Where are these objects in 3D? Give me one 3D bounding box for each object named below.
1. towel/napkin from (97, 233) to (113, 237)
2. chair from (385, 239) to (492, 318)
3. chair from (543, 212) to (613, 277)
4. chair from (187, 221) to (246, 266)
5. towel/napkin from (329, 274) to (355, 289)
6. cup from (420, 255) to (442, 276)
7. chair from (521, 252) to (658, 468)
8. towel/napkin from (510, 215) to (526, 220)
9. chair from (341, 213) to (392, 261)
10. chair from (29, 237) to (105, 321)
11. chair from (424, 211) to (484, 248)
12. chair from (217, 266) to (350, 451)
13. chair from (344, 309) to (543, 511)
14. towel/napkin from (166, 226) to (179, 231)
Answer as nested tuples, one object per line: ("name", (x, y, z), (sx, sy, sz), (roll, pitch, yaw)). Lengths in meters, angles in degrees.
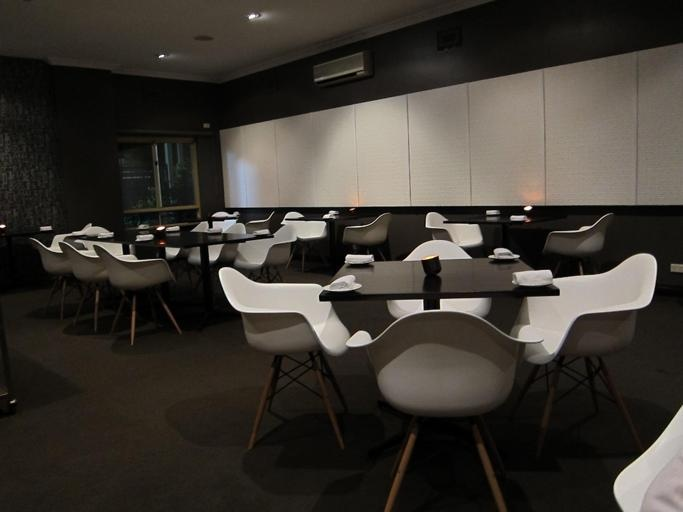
("towel/napkin", (-2.953, -0.267, 6.107), (0.124, 0.045, 0.125), (-2, 8, -31))
("chair", (0.763, 0.180, 3.842), (0.673, 0.922, 0.669), (-1, 1, 1))
("chair", (2.850, -0.276, 5.921), (0.738, 1.086, 0.786), (7, 10, 35))
("chair", (-1.513, -0.162, 6.190), (0.560, 0.612, 0.640), (1, 0, 34))
("towel/napkin", (0.010, 0.143, 2.863), (0.081, 0.029, 0.105), (-8, 12, 23))
("cup", (0.574, 0.056, 3.130), (0.110, 0.118, 0.121), (-6, 2, 0))
("chair", (1.550, 0.702, 3.066), (0.774, 1.212, 0.975), (-1, 9, 1))
("towel/napkin", (2.096, -0.451, 5.797), (0.188, 0.034, 0.287), (2, 13, 21))
("chair", (0.385, -0.314, 7.689), (0.691, 0.982, 0.744), (2, 5, 12))
("chair", (-3.367, 0.299, 6.007), (0.733, 0.997, 0.755), (-8, 16, -31))
("chair", (1.498, -0.334, 6.481), (0.549, 0.479, 0.616), (1, 8, 39))
("chair", (-0.313, 0.673, 3.513), (0.990, 1.411, 1.056), (-2, 9, 2))
("chair", (0.470, 0.644, 2.675), (0.962, 1.219, 0.888), (0, 10, 7))
("towel/napkin", (-2.199, -0.364, 6.402), (0.206, 0.080, 0.118), (0, 3, -18))
